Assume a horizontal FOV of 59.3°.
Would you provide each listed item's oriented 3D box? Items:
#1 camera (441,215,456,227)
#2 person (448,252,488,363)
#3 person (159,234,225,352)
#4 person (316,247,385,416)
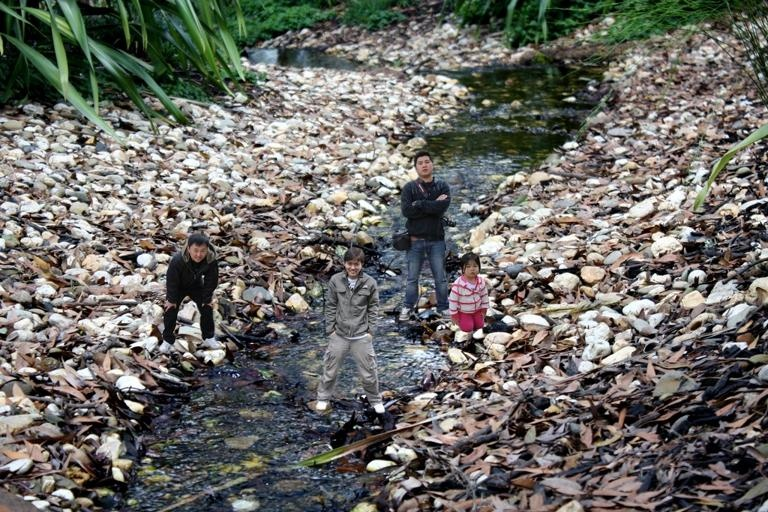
[{"bbox_3d":[0.798,-0.447,8.382,0.259,0.090,0.288,5,-3,3],"label":"camera"},{"bbox_3d":[0.894,0.445,7.158,0.418,0.933,0.513,3,34,8],"label":"person"},{"bbox_3d":[-1.966,0.388,6.728,0.716,1.306,0.429,-10,36,-12],"label":"person"},{"bbox_3d":[-0.379,0.714,6.318,0.656,1.514,0.892,-3,33,-1],"label":"person"}]
